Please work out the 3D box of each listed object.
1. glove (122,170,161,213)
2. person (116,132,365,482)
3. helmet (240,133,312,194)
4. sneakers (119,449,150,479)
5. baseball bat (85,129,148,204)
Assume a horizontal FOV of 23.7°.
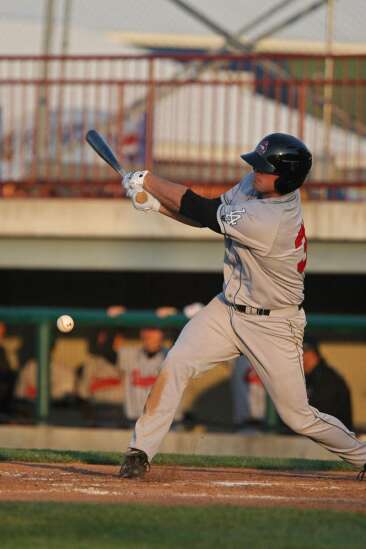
[{"bbox_3d":[-0.207,-0.393,4.241,0.163,0.203,0.069,-12,-25,-10],"label":"glove"},{"bbox_3d":[0.294,0.158,4.232,1.261,1.691,0.491,4,-3,-5],"label":"person"},{"bbox_3d":[0.494,-0.515,4.219,0.294,0.229,0.234,-2,10,-18],"label":"helmet"},{"bbox_3d":[-0.232,0.896,4.152,0.136,0.153,0.131,4,-3,1],"label":"sneakers"},{"bbox_3d":[-0.350,-0.559,4.566,0.121,0.105,0.696,13,28,-42],"label":"baseball bat"}]
